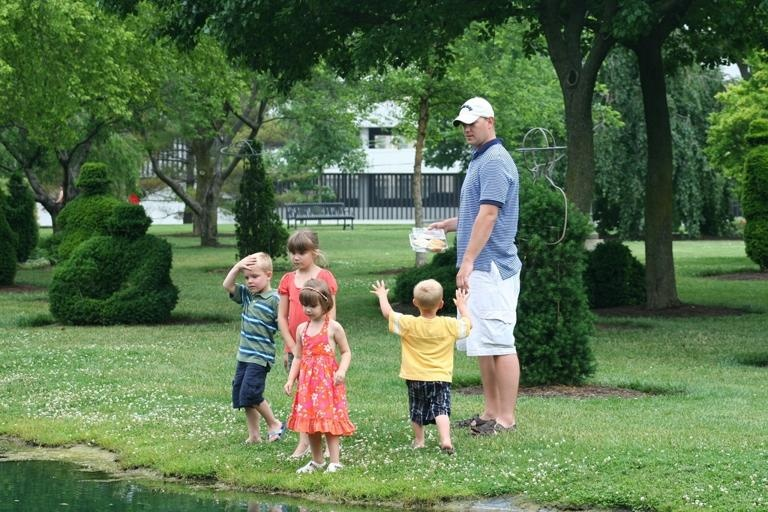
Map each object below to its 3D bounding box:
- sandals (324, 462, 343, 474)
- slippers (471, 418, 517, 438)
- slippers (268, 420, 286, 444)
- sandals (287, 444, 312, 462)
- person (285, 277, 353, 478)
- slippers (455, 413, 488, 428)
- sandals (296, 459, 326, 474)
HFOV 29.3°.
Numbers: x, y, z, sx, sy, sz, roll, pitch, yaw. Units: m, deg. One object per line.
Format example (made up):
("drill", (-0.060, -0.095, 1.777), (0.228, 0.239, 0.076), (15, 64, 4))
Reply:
("sandals", (-0.947, 3.965, 27.316), (0.371, 0.155, 0.133), (5, -7, -40))
("slippers", (2.047, 3.302, 28.065), (0.709, 0.201, 0.350), (3, -7, -12))
("slippers", (-2.066, 3.409, 28.147), (0.116, 0.424, 0.192), (9, 35, -38))
("sandals", (-1.584, 3.688, 27.681), (0.186, 0.224, 0.570), (0, -9, 14))
("person", (-1.216, 2.244, 27.399), (1.174, 3.587, 0.529), (-1, 2, -5))
("slippers", (1.703, 3.195, 28.286), (0.499, 0.184, 0.262), (3, -5, 3))
("sandals", (-1.370, 3.956, 27.352), (0.571, 0.247, 0.221), (0, -5, -6))
